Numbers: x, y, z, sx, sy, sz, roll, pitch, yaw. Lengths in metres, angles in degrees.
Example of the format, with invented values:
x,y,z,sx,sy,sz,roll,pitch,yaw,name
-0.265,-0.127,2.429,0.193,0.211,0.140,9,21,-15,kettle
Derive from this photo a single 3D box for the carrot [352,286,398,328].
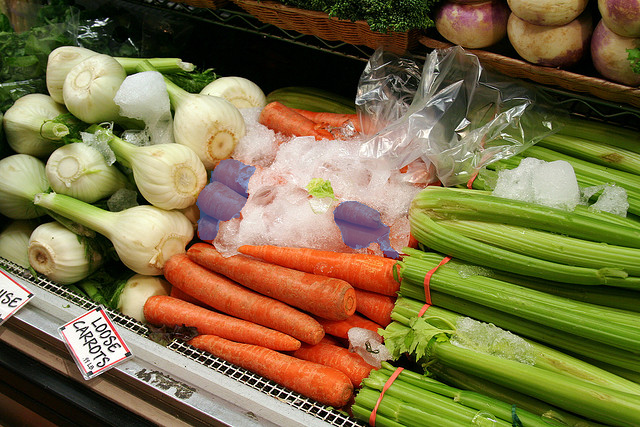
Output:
x,y,z,sx,sy,sz,roll,pitch,yaw,name
0.239,0.428,2.137,0.200,0.120,0.101,14,45,14,carrot

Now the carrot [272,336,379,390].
x,y,z,sx,sy,sz,roll,pitch,yaw,name
-0.018,0.624,2.209,0.596,0.163,0.159,15,78,35,carrot

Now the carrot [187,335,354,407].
x,y,z,sx,sy,sz,roll,pitch,yaw,name
-0.199,0.684,2.002,0.655,0.129,0.131,15,86,21,carrot

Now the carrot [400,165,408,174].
x,y,z,sx,sy,sz,roll,pitch,yaw,name
0.401,-0.210,2.225,0.036,0.024,0.029,-4,43,-5,carrot

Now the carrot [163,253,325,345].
x,y,z,sx,sy,sz,roll,pitch,yaw,name
-0.330,0.412,2.198,0.619,0.141,0.157,25,44,18,carrot

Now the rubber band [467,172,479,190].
x,y,z,sx,sy,sz,roll,pitch,yaw,name
0.687,-0.146,2.093,0.032,0.023,0.056,14,74,50,rubber band

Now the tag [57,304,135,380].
x,y,z,sx,sy,sz,roll,pitch,yaw,name
-0.986,0.573,2.067,0.207,0.108,0.337,-31,51,-30,tag

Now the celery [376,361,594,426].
x,y,z,sx,sy,sz,roll,pitch,yaw,name
0.652,0.697,1.787,0.695,0.099,0.080,16,78,26,celery

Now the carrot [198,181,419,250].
x,y,z,sx,sy,sz,roll,pitch,yaw,name
-0.012,0.010,2.219,0.591,0.160,0.139,18,83,23,carrot
